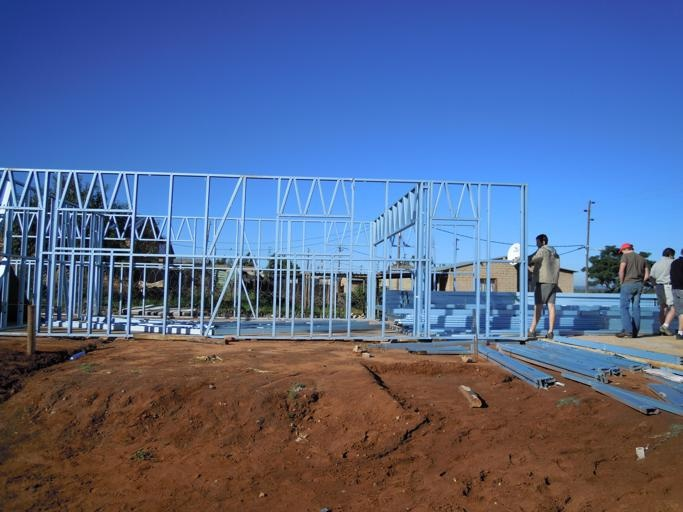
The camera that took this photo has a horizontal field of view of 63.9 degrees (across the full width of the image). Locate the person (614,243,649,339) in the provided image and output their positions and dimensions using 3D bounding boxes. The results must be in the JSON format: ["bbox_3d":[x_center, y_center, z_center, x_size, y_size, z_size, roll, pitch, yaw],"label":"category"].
[{"bbox_3d":[5.593,0.645,10.548,0.438,1.781,0.606,-2,-4,44],"label":"person"}]

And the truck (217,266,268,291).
[{"bbox_3d":[-4.323,0.809,23.037,1.800,0.582,1.946,0,0,-5],"label":"truck"}]

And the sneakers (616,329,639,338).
[{"bbox_3d":[5.478,1.479,10.465,0.377,0.168,0.163,2,2,37],"label":"sneakers"}]

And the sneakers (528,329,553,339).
[{"bbox_3d":[4.089,1.571,11.012,0.606,0.244,0.207,0,-2,-3],"label":"sneakers"}]

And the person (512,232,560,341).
[{"bbox_3d":[3.995,0.599,10.837,0.550,2.035,0.664,0,-3,19],"label":"person"}]
